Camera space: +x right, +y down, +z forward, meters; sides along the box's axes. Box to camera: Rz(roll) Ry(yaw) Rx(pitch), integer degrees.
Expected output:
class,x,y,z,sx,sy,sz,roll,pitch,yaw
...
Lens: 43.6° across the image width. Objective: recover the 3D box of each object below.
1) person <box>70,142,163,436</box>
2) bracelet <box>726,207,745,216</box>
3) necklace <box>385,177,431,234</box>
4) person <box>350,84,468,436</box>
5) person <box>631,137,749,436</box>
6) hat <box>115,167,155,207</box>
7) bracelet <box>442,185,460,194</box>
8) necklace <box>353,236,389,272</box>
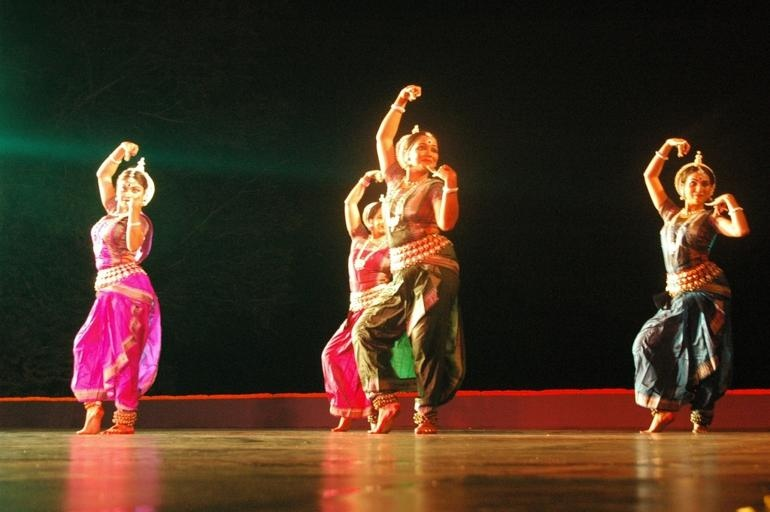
class,x,y,z,sx,sy,sz,roll,pitch,yaw
person,-1.770,0.172,6.478,0.567,2.025,0.503,4,-18,-8
bracelet,2.331,-0.302,6.418,0.081,0.059,0.076,1,3,23
necklace,0.166,-0.319,6.202,0.228,0.304,0.385,10,-12,-35
person,0.209,0.016,6.213,0.709,2.215,0.718,4,-18,-9
person,2.049,0.175,6.514,0.646,1.976,0.636,2,-18,-4
hat,-1.700,-0.497,6.695,0.326,0.245,0.243,1,2,-40
bracelet,0.423,-0.419,6.087,0.089,0.058,0.103,2,-15,-4
necklace,-0.098,-0.020,6.692,0.283,0.217,0.099,-1,-14,16
